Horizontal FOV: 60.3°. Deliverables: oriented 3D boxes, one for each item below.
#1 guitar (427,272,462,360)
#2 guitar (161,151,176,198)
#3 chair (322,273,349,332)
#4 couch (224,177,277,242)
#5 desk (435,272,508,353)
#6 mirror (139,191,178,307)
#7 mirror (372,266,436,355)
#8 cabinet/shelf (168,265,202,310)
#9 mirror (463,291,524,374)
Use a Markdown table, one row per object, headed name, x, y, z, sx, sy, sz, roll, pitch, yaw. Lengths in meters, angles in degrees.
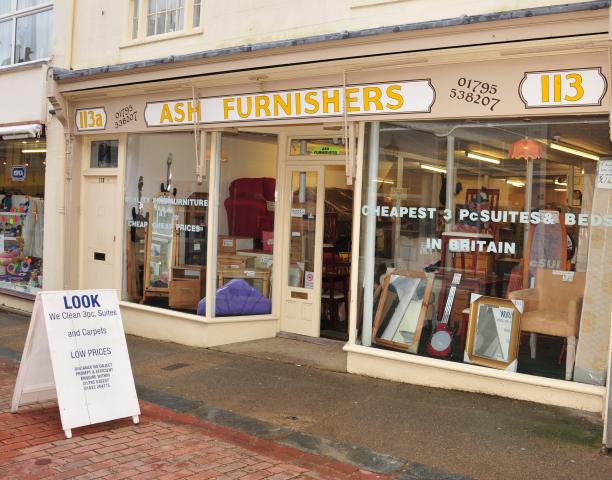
| name | x | y | z | sx | sy | sz | roll | pitch | yaw |
| --- | --- | --- | --- | --- | --- | --- | --- | --- | --- |
| guitar | 1.767 | 0.954 | 6.596 | 0.327 | 1.121 | 0.190 | 12 | 9 | 20 |
| guitar | -2.348 | -1.130 | 9.013 | 0.386 | 0.719 | 0.062 | 3 | 5 | 39 |
| chair | 0.525 | 1.038 | 9.288 | 0.478 | 1.002 | 0.987 | 0 | 4 | 2 |
| couch | -0.875 | -0.529 | 8.862 | 1.009 | 1.081 | 0.276 | -3 | 5 | -38 |
| desk | 2.037 | 0.978 | 6.701 | 0.660 | 0.817 | 0.606 | 2 | 5 | 34 |
| mirror | -2.563 | 0.131 | 9.152 | 0.792 | 1.900 | 0.206 | 3 | 5 | 37 |
| mirror | 1.272 | 0.913 | 6.885 | 0.734 | 1.018 | 0.239 | 2 | 4 | 32 |
| cabinet/shelf | -2.031 | 0.788 | 8.877 | 0.803 | 0.692 | 0.761 | 1 | -1 | 33 |
| mirror | 2.275 | 1.072 | 6.340 | 0.622 | 0.824 | 0.548 | 3 | 4 | 34 |
